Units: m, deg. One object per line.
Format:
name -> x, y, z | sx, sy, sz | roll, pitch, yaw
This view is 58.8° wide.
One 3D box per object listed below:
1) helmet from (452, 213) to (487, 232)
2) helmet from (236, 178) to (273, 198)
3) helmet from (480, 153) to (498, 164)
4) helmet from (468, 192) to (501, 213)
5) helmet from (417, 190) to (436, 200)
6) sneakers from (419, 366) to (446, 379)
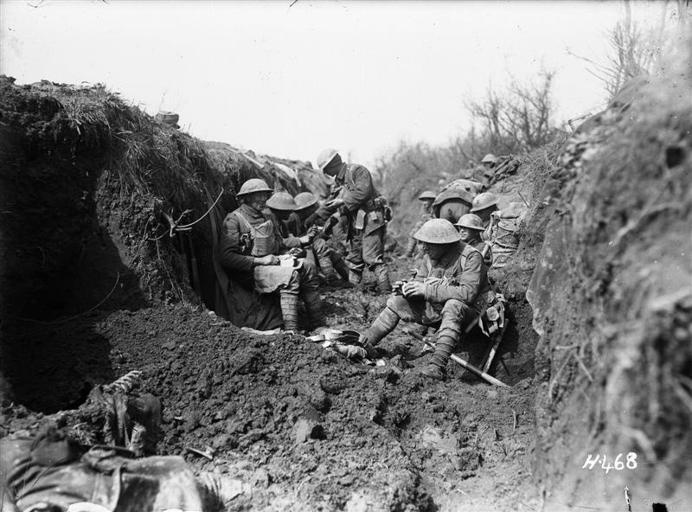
helmet -> 1.614, -0.426, 7.991 | 0.279, 0.145, 0.284 | 7, 2, 8
helmet -> -1.200, -0.910, 7.807 | 0.309, 0.140, 0.316 | -6, -4, -5
helmet -> 3.375, -2.243, 14.507 | 0.425, 0.210, 0.405 | 1, 29, 10
helmet -> 2.155, -0.822, 9.418 | 0.391, 0.191, 0.420 | -17, 14, 40
helmet -> 1.606, -1.212, 12.384 | 0.422, 0.173, 0.452 | 0, 0, -4
sneakers -> 0.851, 1.158, 6.050 | 0.206, 0.093, 0.118 | 21, -17, -39
